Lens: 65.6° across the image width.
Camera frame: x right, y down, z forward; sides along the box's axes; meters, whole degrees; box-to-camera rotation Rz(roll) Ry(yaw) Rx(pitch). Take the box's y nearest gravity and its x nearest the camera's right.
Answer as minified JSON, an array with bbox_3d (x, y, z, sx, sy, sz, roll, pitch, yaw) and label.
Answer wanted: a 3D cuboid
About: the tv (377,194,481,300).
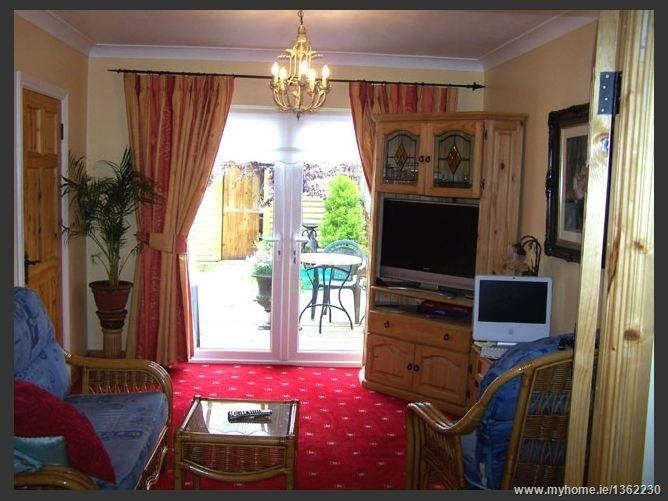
[{"bbox_3d":[0.858,-0.041,4.497,0.836,0.662,0.120,6,6,36],"label":"tv"}]

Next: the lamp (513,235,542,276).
[{"bbox_3d":[1.488,0.043,3.971,0.195,0.306,0.555,5,8,23],"label":"lamp"}]

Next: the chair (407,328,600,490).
[{"bbox_3d":[0.757,0.849,2.499,0.726,0.944,0.545,2,7,0],"label":"chair"}]

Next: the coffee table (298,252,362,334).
[{"bbox_3d":[-0.088,0.351,5.418,0.705,0.820,0.692,-6,19,-30],"label":"coffee table"}]

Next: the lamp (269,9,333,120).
[{"bbox_3d":[-0.204,-1.274,3.431,0.330,0.786,0.352,0,-1,5],"label":"lamp"}]

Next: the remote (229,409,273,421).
[{"bbox_3d":[-0.485,0.951,2.984,0.145,0.036,0.091,0,-1,-7],"label":"remote"}]

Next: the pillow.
[{"bbox_3d":[-1.184,0.790,2.196,0.463,0.398,0.202,4,8,19],"label":"pillow"}]

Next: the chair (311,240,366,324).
[{"bbox_3d":[-0.004,0.345,5.071,0.617,0.853,0.543,5,5,28],"label":"chair"}]

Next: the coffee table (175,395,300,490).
[{"bbox_3d":[-0.529,1.062,2.951,0.645,0.292,0.620,2,8,-3],"label":"coffee table"}]

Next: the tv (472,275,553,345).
[{"bbox_3d":[1.226,0.404,3.542,0.432,0.413,0.075,2,2,5],"label":"tv"}]
